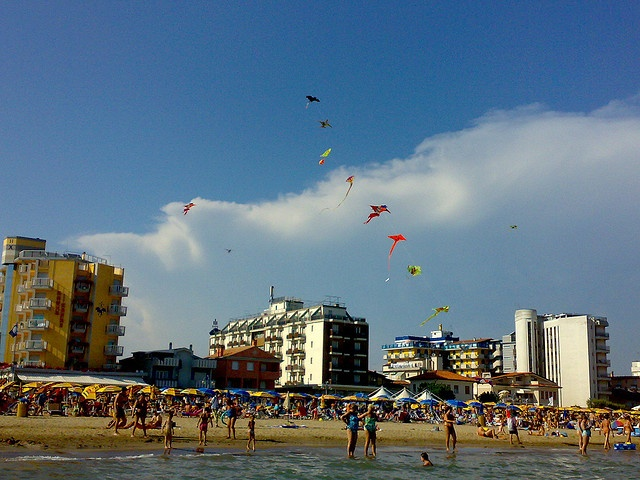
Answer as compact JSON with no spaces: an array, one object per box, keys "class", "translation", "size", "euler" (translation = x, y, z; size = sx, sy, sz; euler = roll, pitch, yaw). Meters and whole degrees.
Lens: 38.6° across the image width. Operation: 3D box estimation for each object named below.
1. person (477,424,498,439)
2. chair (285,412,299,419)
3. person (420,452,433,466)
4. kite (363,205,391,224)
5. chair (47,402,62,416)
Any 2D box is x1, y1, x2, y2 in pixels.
[{"class":"person","translation":[14.238,16.406,78.394],"size":[1.495,1.103,2.290],"euler":[-2,-14,7]},{"class":"chair","translation":[-2.775,18.045,94.658],"size":[1.130,0.523,1.471],"euler":[-1,-3,1]},{"class":"person","translation":[7.202,14.975,62.719],"size":[0.603,1.125,1.130],"euler":[-12,-17,38]},{"class":"kite","translation":[2.820,-1.464,45.726],"size":[1.121,0.478,0.964],"euler":[-37,-40,14]},{"class":"chair","translation":[-24.224,15.300,83.205],"size":[1.668,0.851,1.556],"euler":[2,1,-43]}]
